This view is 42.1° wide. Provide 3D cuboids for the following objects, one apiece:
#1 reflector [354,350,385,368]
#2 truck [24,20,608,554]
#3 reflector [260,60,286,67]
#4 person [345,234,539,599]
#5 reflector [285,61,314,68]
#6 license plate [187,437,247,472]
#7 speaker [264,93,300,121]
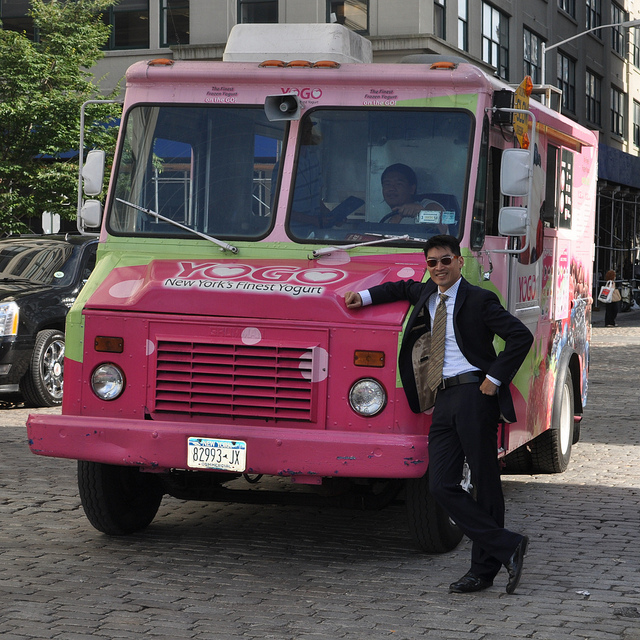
[{"bbox_3d":[0.263,0.198,4.376,0.175,0.083,0.039,3,4,8],"label":"reflector"},{"bbox_3d":[0.570,-0.334,6.722,2.975,2.840,5.188,1,1,21],"label":"truck"},{"bbox_3d":[-0.303,-1.625,5.258,0.067,0.022,0.087,1,4,7],"label":"reflector"},{"bbox_3d":[0.681,0.491,4.281,0.768,1.838,0.415,0,-1,8],"label":"person"},{"bbox_3d":[-0.137,-1.614,5.239,0.084,0.024,0.095,0,2,5],"label":"reflector"},{"bbox_3d":[-0.552,0.708,4.416,0.324,0.170,0.028,0,-1,12],"label":"license plate"},{"bbox_3d":[-0.234,-1.319,5.178,0.210,0.151,0.156,-13,13,27],"label":"speaker"}]
